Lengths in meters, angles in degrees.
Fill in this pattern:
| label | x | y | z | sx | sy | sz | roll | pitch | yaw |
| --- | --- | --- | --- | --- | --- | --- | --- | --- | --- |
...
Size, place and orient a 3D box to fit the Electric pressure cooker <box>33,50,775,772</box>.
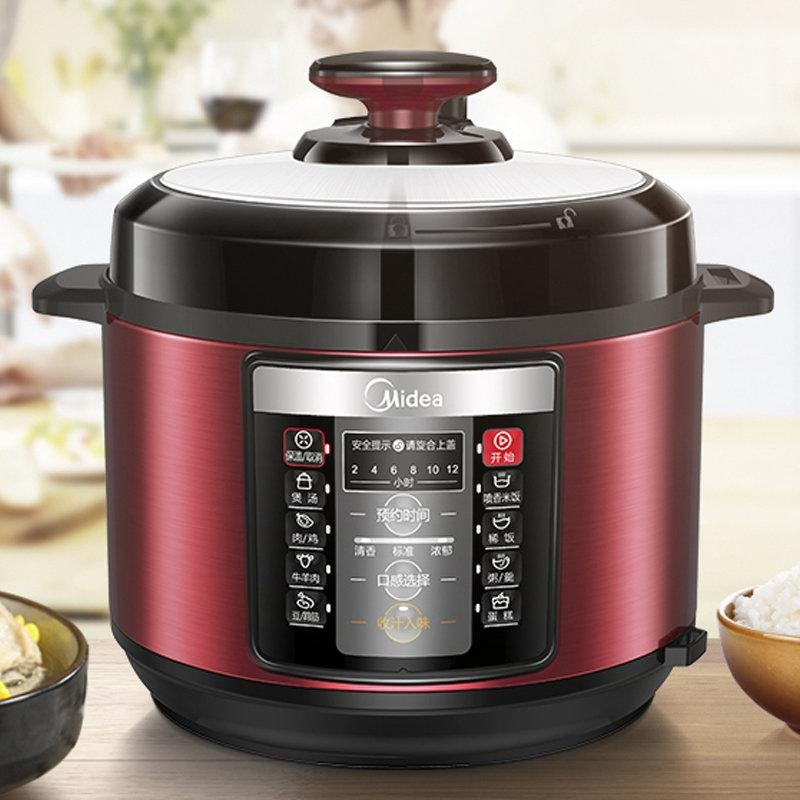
| label | x | y | z | sx | sy | sz | roll | pitch | yaw |
| --- | --- | --- | --- | --- | --- | --- | --- | --- | --- |
| Electric pressure cooker | 0.015 | -0.021 | 0.710 | 0.527 | 0.302 | 0.431 | -1 | 9 | -2 |
